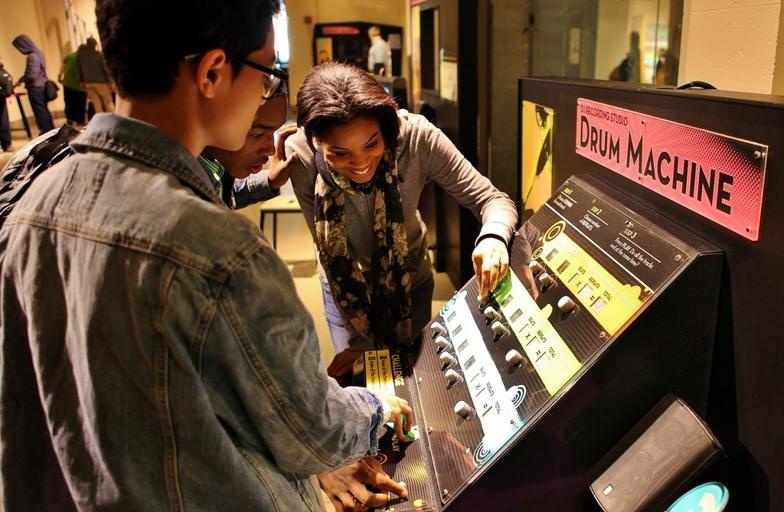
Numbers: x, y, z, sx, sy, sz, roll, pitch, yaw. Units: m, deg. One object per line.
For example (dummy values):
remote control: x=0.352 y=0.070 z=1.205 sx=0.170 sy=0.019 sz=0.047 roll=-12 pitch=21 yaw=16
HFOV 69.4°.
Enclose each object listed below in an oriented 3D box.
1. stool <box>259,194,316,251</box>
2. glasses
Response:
stool: x=-0.804 y=-0.244 z=4.380 sx=0.301 sy=0.376 sz=0.400 roll=-1 pitch=46 yaw=-3
glasses: x=-0.316 y=-0.373 z=1.245 sx=0.126 sy=0.044 sz=0.124 roll=24 pitch=8 yaw=-11
